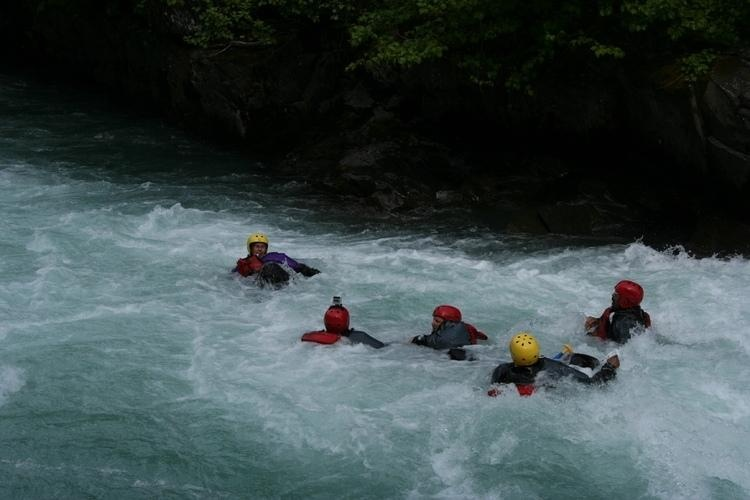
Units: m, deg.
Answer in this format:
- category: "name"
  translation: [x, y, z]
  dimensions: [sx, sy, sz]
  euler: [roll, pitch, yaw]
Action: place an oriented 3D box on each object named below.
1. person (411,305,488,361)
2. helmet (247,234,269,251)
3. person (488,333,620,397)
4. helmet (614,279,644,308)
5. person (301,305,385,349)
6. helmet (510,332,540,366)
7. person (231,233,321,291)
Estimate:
- category: "person"
  translation: [1.655, 1.650, 15.393]
  dimensions: [1.740, 0.712, 1.174]
  euler: [6, 7, -4]
- category: "helmet"
  translation: [-2.869, -0.222, 17.922]
  dimensions: [0.422, 0.452, 0.392]
  euler: [4, -8, -14]
- category: "person"
  translation: [3.455, 2.125, 14.191]
  dimensions: [1.981, 0.724, 1.354]
  euler: [2, -2, 5]
- category: "helmet"
  translation: [5.340, 0.933, 15.643]
  dimensions: [0.545, 0.586, 0.582]
  euler: [18, -10, -13]
- category: "person"
  translation: [-0.641, 1.660, 15.426]
  dimensions: [1.850, 0.729, 0.985]
  euler: [3, 8, 12]
- category: "helmet"
  translation: [2.851, 1.873, 14.138]
  dimensions: [0.554, 0.528, 0.646]
  euler: [3, 19, 8]
- category: "person"
  translation: [-2.434, 0.246, 17.553]
  dimensions: [1.866, 1.068, 0.921]
  euler: [9, 11, -5]
